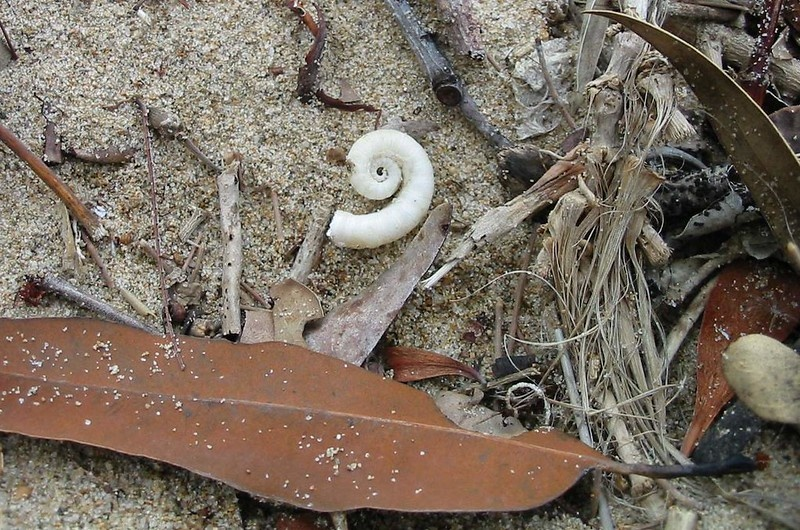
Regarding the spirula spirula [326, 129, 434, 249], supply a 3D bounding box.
[{"bbox_3d":[-0.071,-0.316,3.983,0.410,0.198,0.517,19,67,-1],"label":"spirula spirula"}]
